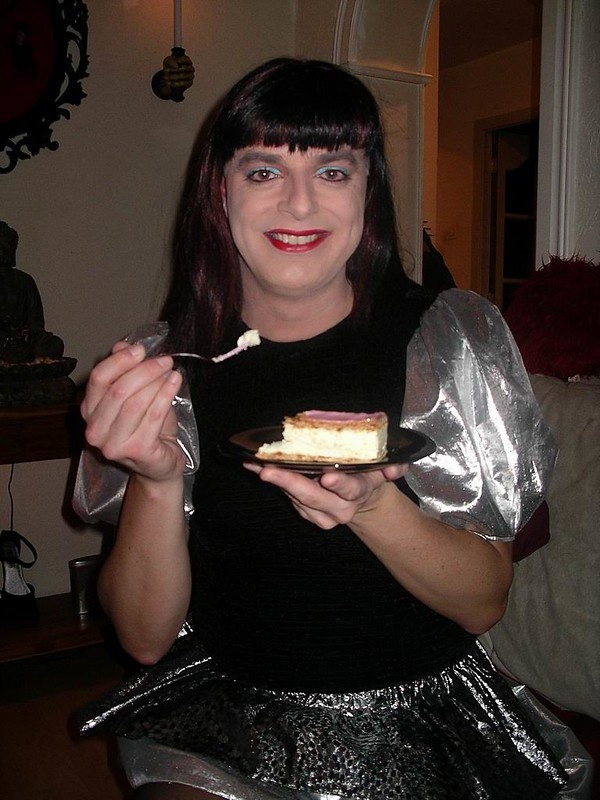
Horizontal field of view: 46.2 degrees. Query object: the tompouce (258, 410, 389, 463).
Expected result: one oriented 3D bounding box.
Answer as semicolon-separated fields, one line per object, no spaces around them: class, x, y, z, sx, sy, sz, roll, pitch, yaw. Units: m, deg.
tompouce;0.041;0.046;0.949;0.132;0.041;0.077;0;3;15
